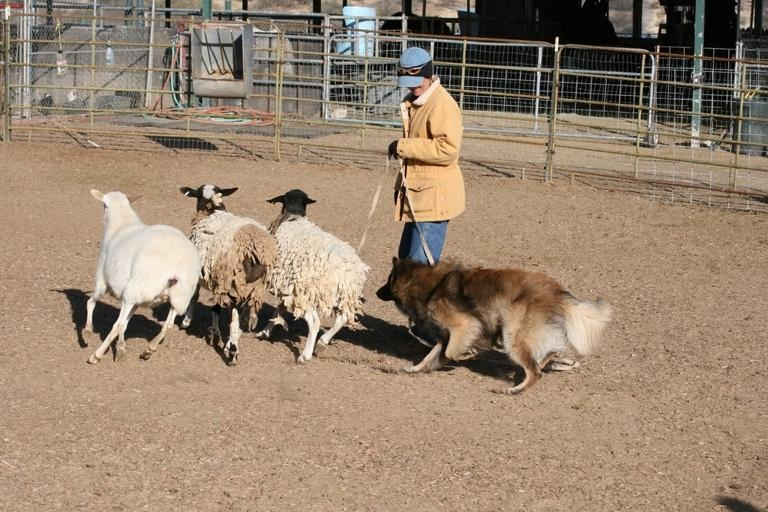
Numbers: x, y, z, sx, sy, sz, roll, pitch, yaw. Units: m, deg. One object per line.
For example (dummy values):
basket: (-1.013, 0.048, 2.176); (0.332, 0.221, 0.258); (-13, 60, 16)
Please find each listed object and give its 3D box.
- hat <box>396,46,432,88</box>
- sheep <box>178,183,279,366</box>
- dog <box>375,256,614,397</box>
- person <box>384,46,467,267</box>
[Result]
hat: (0.302, -1.855, 8.600); (0.286, 0.253, 0.421); (7, 37, 23)
sheep: (-1.601, 0.259, 9.129); (0.639, 1.119, 1.749); (-2, 31, -30)
dog: (0.697, 0.530, 8.554); (2.686, 1.361, 0.877); (8, 6, 21)
person: (0.431, -0.993, 8.775); (0.766, 2.096, 0.460); (3, 11, 4)
